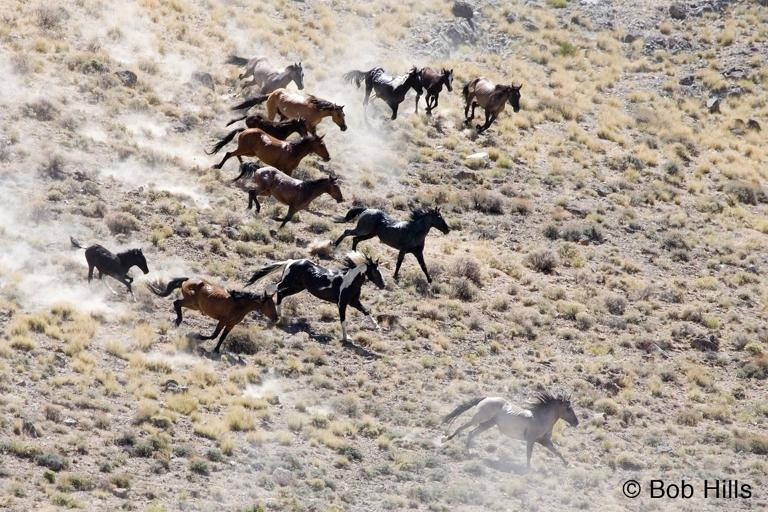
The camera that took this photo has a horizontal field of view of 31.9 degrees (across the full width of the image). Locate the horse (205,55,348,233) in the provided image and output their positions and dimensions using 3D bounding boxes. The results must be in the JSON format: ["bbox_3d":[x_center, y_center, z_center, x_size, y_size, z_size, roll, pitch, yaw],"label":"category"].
[{"bbox_3d":[-5.457,-5.869,65.693,5.069,5.141,6.451,14,114,43],"label":"horse"}]

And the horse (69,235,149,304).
[{"bbox_3d":[-11.532,0.353,55.701,3.899,0.881,2.189,15,102,19],"label":"horse"}]

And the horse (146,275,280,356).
[{"bbox_3d":[-7.211,2.137,54.688,5.636,1.099,3.195,20,104,12],"label":"horse"}]

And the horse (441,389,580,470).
[{"bbox_3d":[4.989,6.570,53.413,5.878,1.328,3.249,7,97,30],"label":"horse"}]

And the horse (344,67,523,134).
[{"bbox_3d":[2.978,-8.272,71.499,8.297,6.350,2.588,-4,69,10],"label":"horse"}]
